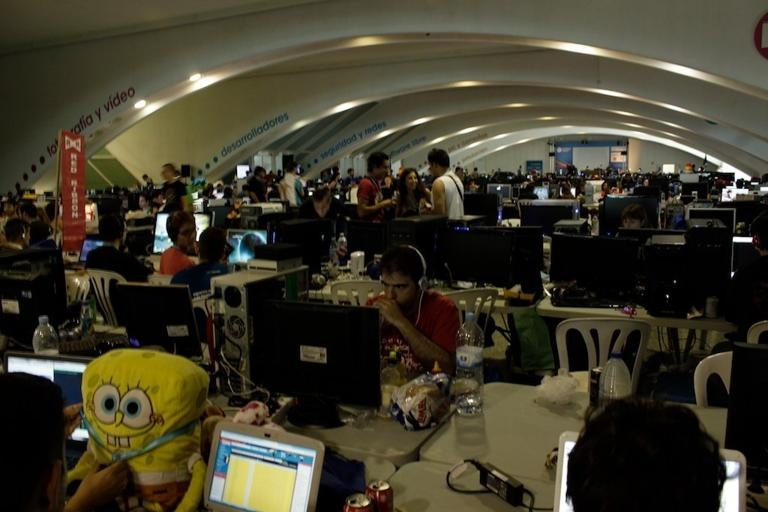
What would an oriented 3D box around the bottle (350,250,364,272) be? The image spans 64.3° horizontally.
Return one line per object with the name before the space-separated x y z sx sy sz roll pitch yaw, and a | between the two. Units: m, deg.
bottle | -0.278 0.074 6.406 0.175 0.203 0.179 0 2 -27
